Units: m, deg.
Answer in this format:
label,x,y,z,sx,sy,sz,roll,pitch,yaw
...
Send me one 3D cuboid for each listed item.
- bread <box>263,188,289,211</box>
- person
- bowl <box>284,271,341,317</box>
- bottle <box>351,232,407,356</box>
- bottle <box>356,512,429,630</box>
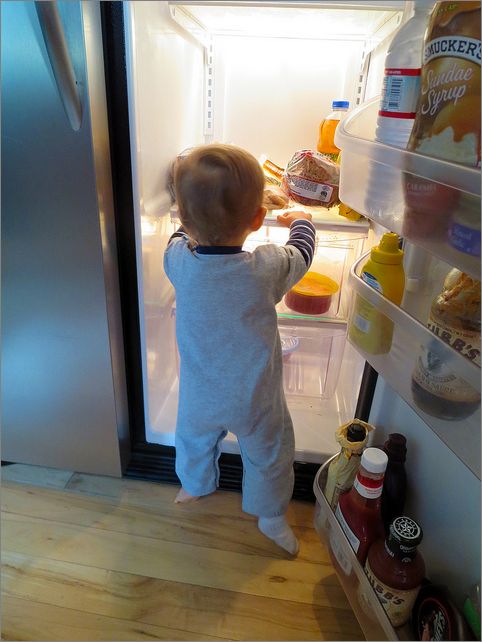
label,x,y,z,sx,sy,sz,roll,pitch,yaw
bread,0.089,-0.314,1.089,0.064,0.044,0.097,-2,26,-2
person,-0.005,0.105,0.998,0.336,0.966,0.236,2,24,0
bowl,0.208,-0.066,1.238,0.121,0.053,0.132,13,35,-9
bottle,0.231,-0.046,0.711,0.056,0.202,0.085,-15,33,-29
bottle,0.264,0.458,0.732,0.099,0.256,0.097,1,25,-1
